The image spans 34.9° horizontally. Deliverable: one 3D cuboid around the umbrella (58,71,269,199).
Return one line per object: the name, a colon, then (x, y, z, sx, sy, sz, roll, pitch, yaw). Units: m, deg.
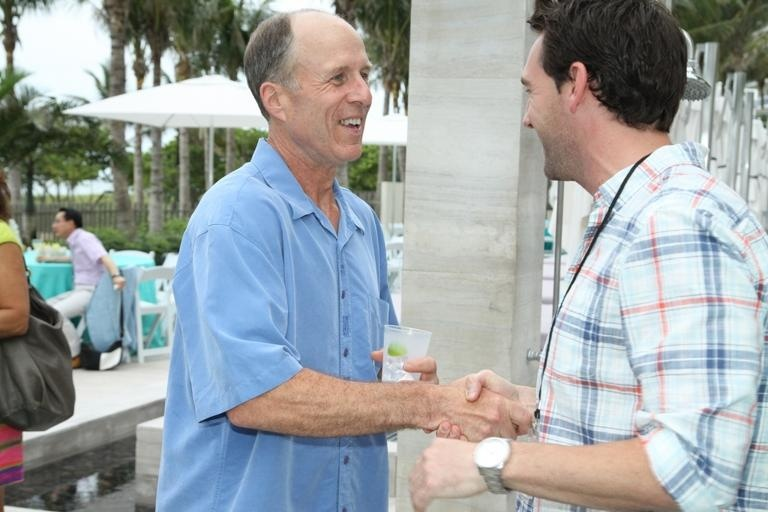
umbrella: (-2.575, -2.066, 16.740, 2.232, 1.555, 2.115, 7, 14, 33)

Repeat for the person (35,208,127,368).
person: (-3.645, 0.391, 14.608, 0.988, 1.801, 1.100, 1, 0, -1)

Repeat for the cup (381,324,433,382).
cup: (0.158, 0.742, 9.638, 0.339, 0.433, 0.352, -1, 13, 0)
